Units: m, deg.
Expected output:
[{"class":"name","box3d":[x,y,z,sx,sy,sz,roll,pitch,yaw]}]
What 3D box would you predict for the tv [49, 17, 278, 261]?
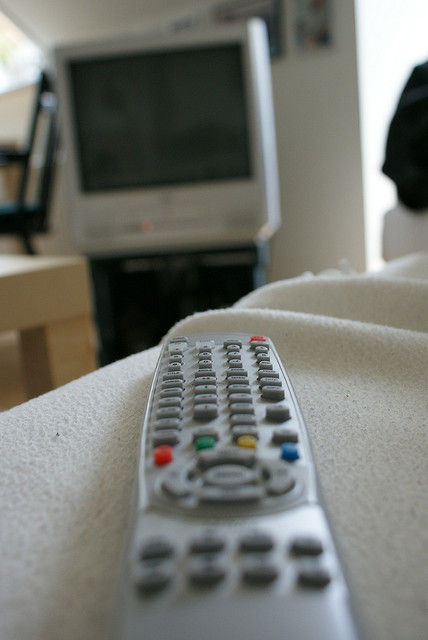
[{"class":"tv","box3d":[-0.057,-0.226,0.642,0.257,0.253,0.143,-4,4,5]}]
